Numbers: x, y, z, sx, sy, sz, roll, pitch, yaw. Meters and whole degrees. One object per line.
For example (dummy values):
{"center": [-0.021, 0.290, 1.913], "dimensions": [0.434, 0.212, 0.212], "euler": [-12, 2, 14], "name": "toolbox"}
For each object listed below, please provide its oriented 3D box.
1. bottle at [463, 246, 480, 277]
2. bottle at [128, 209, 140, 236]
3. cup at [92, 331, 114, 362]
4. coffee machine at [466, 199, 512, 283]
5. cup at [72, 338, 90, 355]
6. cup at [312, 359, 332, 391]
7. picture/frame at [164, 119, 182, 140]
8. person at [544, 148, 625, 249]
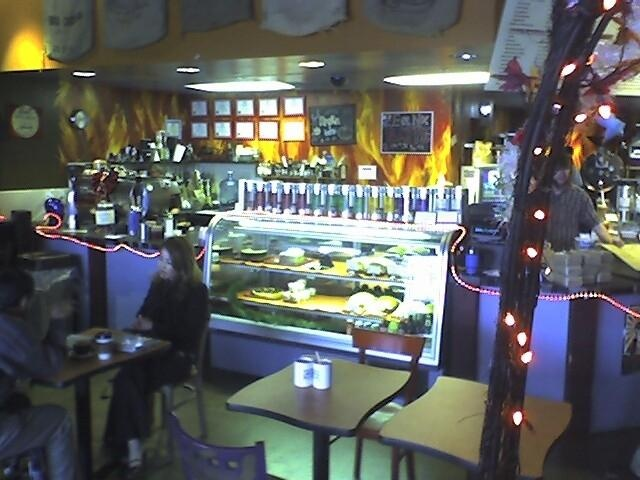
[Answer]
{"center": [1.162, 0.158, 4.023], "dimensions": [0.111, 0.198, 0.206], "euler": [3, 7, 16], "name": "bottle"}
{"center": [-1.891, -0.184, 5.403], "dimensions": [0.122, 0.274, 0.276], "euler": [-1, 7, -17], "name": "bottle"}
{"center": [-1.272, 0.646, 3.188], "dimensions": [0.137, 0.152, 0.137], "euler": [1, -2, 0], "name": "cup"}
{"center": [1.306, -0.005, 4.232], "dimensions": [0.333, 0.589, 0.752], "euler": [3, 7, 16], "name": "coffee machine"}
{"center": [-1.399, 0.628, 3.116], "dimensions": [0.088, 0.064, 0.080], "euler": [0, 4, 0], "name": "cup"}
{"center": [0.013, 0.732, 2.859], "dimensions": [0.135, 0.150, 0.134], "euler": [0, 2, 0], "name": "cup"}
{"center": [-2.247, -1.734, 8.145], "dimensions": [0.226, 0.311, 0.393], "euler": [-1, 8, -19], "name": "picture/frame"}
{"center": [1.982, -0.262, 4.262], "dimensions": [0.747, 0.918, 0.456], "euler": [2, 38, 27], "name": "person"}
